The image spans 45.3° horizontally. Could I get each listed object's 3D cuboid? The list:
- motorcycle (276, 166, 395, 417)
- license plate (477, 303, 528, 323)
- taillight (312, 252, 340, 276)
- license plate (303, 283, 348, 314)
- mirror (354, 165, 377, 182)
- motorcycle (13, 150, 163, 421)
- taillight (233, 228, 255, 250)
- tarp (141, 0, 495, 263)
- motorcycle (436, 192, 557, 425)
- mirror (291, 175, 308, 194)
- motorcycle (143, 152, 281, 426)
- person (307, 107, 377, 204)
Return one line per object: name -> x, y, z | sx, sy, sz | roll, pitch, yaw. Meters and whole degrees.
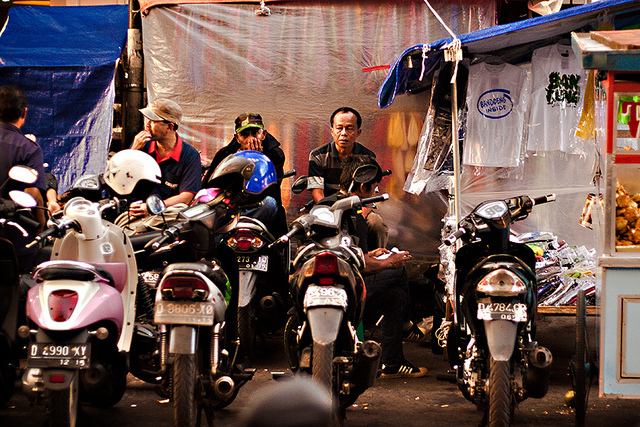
motorcycle -> 0.124, 0.579, 6.037 | 0.795, 1.988, 0.765 | 1, -6, 5
license plate -> 1.380, 0.745, 5.768 | 0.358, 0.139, 0.107 | 0, -7, 11
taillight -> 0.045, 0.377, 5.781 | 0.194, 0.186, 0.159 | 2, 12, 6
license plate -> 0.051, 0.628, 5.955 | 0.328, 0.093, 0.355 | -1, 9, 6
mirror -> 0.374, -0.322, 6.248 | 0.169, 0.148, 0.049 | 1, -6, 1
motorcycle -> -1.786, 0.503, 5.968 | 0.822, 2.104, 1.080 | 0, -7, 11
taillight -> -0.709, 0.242, 7.258 | 0.197, 0.198, 0.020 | 2, 3, 6
tarp -> -0.042, -1.707, 11.214 | 5.290, 3.915, 3.108 | -1, 0, 3
motorcycle -> 1.428, 0.723, 6.044 | 0.776, 1.759, 0.699 | 0, -7, 15
mirror -> -0.172, -0.255, 6.572 | 0.122, 0.157, 0.252 | 2, -7, -2
motorcycle -> -0.958, 0.636, 6.238 | 1.021, 2.186, 1.361 | 3, -7, -14
person -> 0.256, -0.593, 8.348 | 0.728, 1.064, 0.740 | 3, 9, 0
